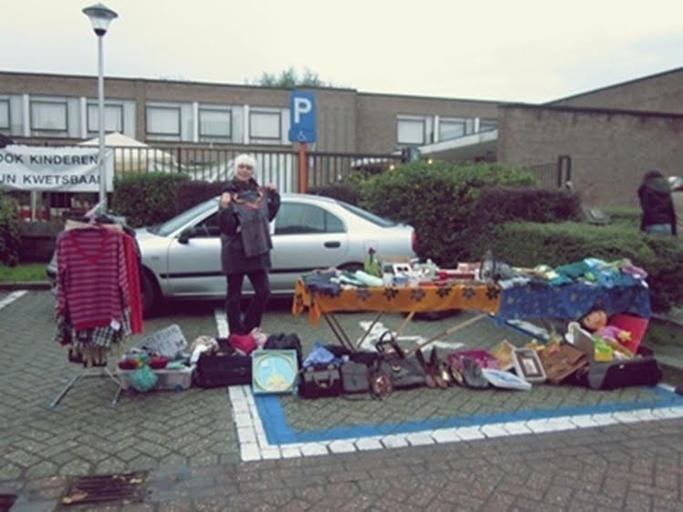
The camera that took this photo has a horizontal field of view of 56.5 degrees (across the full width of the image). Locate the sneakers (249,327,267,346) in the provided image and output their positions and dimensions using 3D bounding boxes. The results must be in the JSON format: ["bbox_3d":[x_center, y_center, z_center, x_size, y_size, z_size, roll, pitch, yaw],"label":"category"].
[{"bbox_3d":[-0.974,0.946,7.341,0.171,0.078,0.206,-13,34,-32],"label":"sneakers"}]

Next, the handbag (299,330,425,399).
[{"bbox_3d":[0.212,1.200,6.865,0.965,0.494,0.731,0,-2,-11],"label":"handbag"}]

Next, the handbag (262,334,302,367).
[{"bbox_3d":[-0.647,1.032,7.066,0.445,0.268,0.426,1,14,0],"label":"handbag"}]

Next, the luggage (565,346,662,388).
[{"bbox_3d":[3.296,1.211,7.179,0.529,0.260,0.715,-15,5,17],"label":"luggage"}]

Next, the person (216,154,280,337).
[{"bbox_3d":[-1.086,-0.129,7.518,0.702,2.046,0.516,-5,15,-22],"label":"person"}]

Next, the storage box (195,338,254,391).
[{"bbox_3d":[-1.278,1.151,6.783,0.447,0.325,0.442,1,2,-35],"label":"storage box"}]

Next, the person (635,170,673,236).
[{"bbox_3d":[4.984,-0.800,9.959,0.622,0.891,0.872,7,16,25],"label":"person"}]
